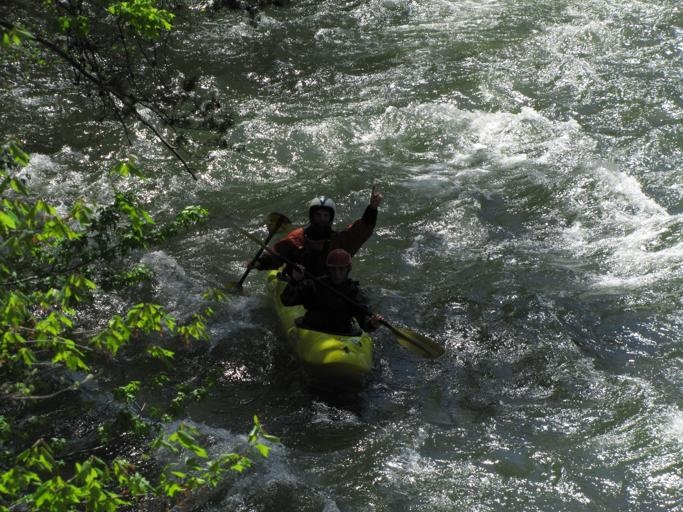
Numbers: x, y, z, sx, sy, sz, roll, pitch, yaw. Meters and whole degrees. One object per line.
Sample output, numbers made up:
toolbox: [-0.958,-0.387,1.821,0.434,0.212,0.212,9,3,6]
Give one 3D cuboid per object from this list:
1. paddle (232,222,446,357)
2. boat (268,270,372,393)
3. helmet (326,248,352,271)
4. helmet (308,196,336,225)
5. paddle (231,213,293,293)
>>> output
paddle: [-0.063,0.501,12.540,3.278,0.534,0.124,26,81,9]
boat: [-0.373,0.916,12.194,0.711,0.475,2.091,-11,29,-20]
helmet: [-0.031,0.032,11.631,0.293,0.226,0.264,4,29,-3]
helmet: [-0.252,-0.679,12.851,0.374,0.413,0.352,4,54,-3]
paddle: [-1.118,-0.092,12.712,0.546,0.216,1.342,39,73,14]
